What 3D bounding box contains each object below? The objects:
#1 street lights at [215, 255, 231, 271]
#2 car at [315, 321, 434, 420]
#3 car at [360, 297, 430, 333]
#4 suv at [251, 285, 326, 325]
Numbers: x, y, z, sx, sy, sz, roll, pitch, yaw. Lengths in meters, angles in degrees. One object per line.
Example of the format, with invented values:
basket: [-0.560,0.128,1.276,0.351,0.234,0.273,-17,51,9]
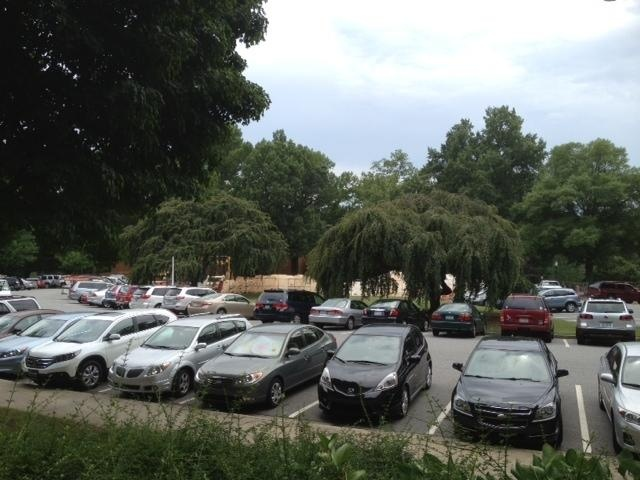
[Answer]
street lights: [-8.410,1.919,45.485,0.704,2.028,0.758,1,21,9]
car: [1.235,2.982,12.083,1.898,1.862,3.425,2,-4,24]
car: [3.717,3.387,24.586,1.292,1.065,3.025,-1,-2,32]
suv: [-1.528,3.242,26.496,1.392,1.185,3.143,-1,-1,36]
